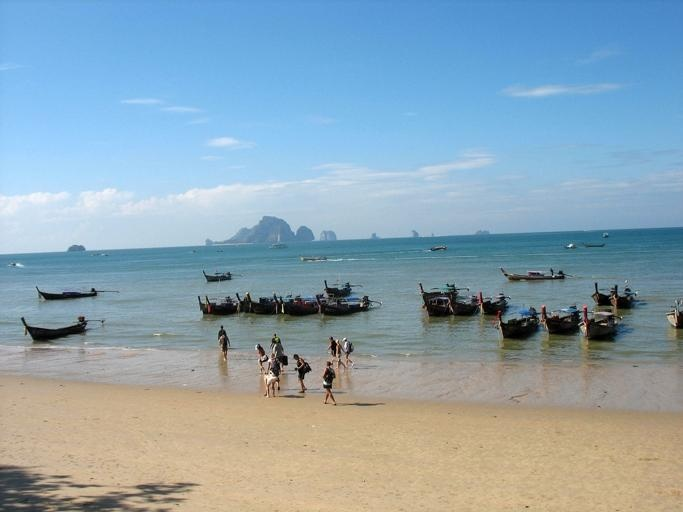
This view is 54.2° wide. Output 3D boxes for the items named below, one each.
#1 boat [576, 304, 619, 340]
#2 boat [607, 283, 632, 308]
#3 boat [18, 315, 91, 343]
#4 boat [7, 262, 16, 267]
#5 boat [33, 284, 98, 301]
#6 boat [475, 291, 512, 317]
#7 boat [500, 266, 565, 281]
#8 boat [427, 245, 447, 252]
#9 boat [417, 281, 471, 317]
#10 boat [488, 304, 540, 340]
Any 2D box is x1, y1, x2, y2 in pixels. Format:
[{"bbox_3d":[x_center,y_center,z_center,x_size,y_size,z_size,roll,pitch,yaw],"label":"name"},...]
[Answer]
[{"bbox_3d":[18.799,5.001,48.843,2.230,2.074,6.196,-2,-5,32],"label":"boat"},{"bbox_3d":[26.554,3.963,63.500,1.629,1.320,4.258,5,3,24],"label":"boat"},{"bbox_3d":[-22.941,5.729,53.318,2.147,1.495,4.965,3,7,23],"label":"boat"},{"bbox_3d":[-126.196,3.106,255.215,2.118,0.837,2.634,1,4,-7],"label":"boat"},{"bbox_3d":[-39.294,5.114,95.042,6.732,1.230,7.944,-4,7,-28],"label":"boat"},{"bbox_3d":[14.420,4.453,62.633,1.881,2.138,6.948,1,-1,38],"label":"boat"},{"bbox_3d":[28.360,2.626,97.338,7.553,1.470,7.719,3,7,25],"label":"boat"},{"bbox_3d":[32.142,-3.042,224.327,3.407,2.369,10.131,-1,-1,4],"label":"boat"},{"bbox_3d":[10.411,4.417,62.591,3.625,2.068,5.641,3,3,22],"label":"boat"},{"bbox_3d":[13.038,4.855,49.014,1.995,1.786,4.069,4,8,30],"label":"boat"}]
